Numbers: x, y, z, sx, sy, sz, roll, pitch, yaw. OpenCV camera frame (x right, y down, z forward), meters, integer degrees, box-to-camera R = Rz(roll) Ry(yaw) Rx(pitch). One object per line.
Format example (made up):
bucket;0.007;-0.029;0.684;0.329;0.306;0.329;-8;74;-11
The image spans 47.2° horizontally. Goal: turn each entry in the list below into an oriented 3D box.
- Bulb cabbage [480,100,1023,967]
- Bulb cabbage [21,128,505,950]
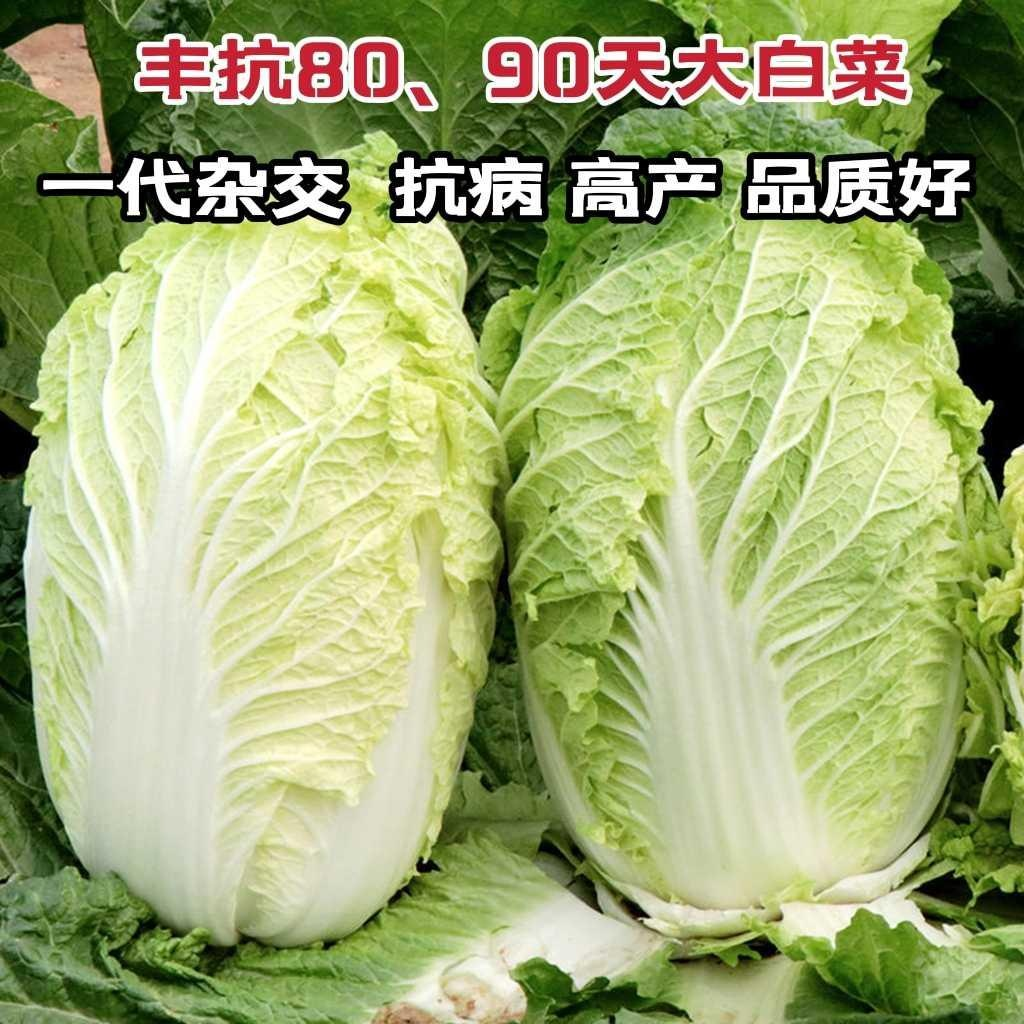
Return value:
Bulb cabbage;0.339;0.022;1.976;0.866;1.199;0.492;-2;-4;1
Bulb cabbage;-0.321;0.038;1.873;0.770;1.088;0.434;1;-4;10
